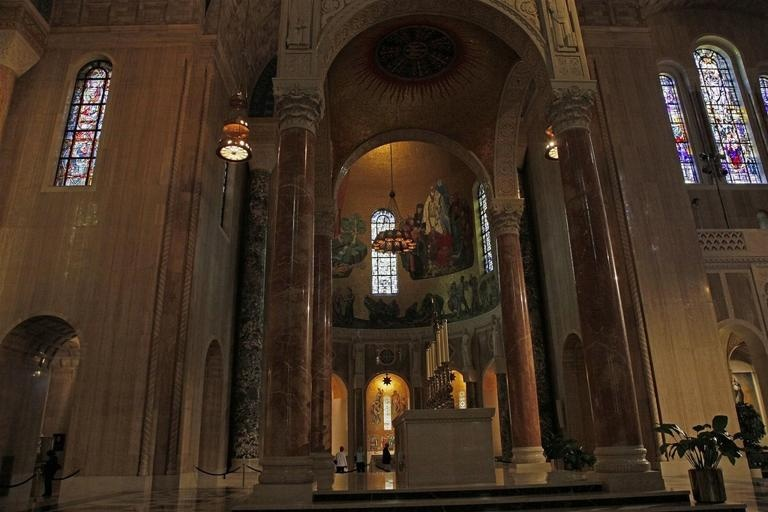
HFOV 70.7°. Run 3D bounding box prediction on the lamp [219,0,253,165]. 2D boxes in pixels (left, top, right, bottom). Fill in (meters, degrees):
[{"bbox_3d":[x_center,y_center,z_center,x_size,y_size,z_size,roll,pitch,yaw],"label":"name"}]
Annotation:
[{"bbox_3d":[-4.001,-4.828,15.020,0.797,5.556,2.772,4,-20,-15],"label":"lamp"}]
